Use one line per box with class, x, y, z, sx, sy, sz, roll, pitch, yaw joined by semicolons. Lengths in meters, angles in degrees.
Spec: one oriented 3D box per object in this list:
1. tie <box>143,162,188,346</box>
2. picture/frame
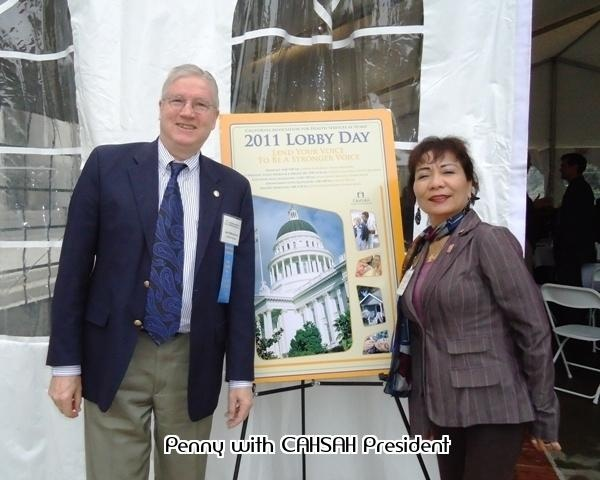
tie;-0.562;0.045;2.075;0.168;0.760;0.068;0;-1;-14
picture/frame;0.050;0.071;2.425;1.222;1.863;0.038;-1;-3;1
